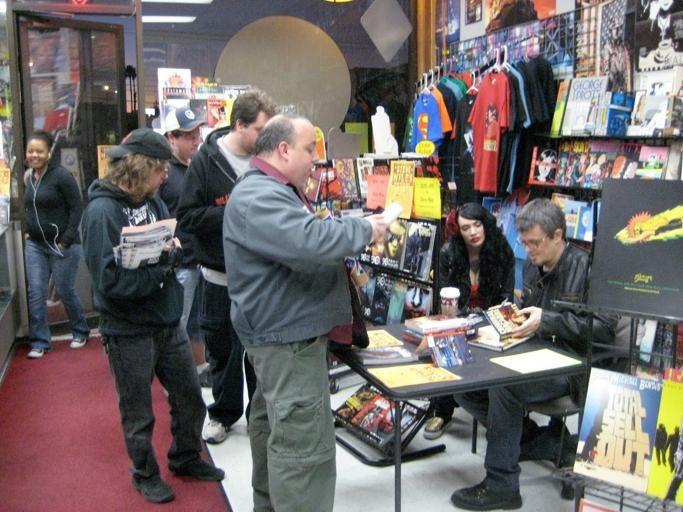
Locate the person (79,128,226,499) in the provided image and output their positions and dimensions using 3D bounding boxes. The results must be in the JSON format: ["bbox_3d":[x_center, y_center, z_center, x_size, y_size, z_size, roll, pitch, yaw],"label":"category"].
[{"bbox_3d":[-1.031,0.358,2.914,0.583,2.029,0.417,-7,14,-27],"label":"person"}]

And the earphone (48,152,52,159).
[{"bbox_3d":[-2.662,-0.913,4.902,0.017,0.060,0.087,-5,14,-16],"label":"earphone"}]

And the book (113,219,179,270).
[{"bbox_3d":[-0.961,-0.053,2.643,0.261,0.216,0.092,-9,36,-34],"label":"book"}]

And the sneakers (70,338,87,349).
[{"bbox_3d":[-2.571,0.852,5.245,0.061,0.079,0.190,1,-8,-2],"label":"sneakers"}]

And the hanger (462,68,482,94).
[{"bbox_3d":[1.310,-1.758,5.439,0.022,0.286,0.406,-7,21,-22],"label":"hanger"}]

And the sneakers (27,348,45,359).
[{"bbox_3d":[-2.843,0.901,4.991,0.130,0.075,0.114,-5,14,-17],"label":"sneakers"}]

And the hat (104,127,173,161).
[{"bbox_3d":[-1.001,-0.557,2.702,0.235,0.133,0.159,9,12,-18],"label":"hat"}]

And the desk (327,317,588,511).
[{"bbox_3d":[0.567,0.538,2.579,0.890,0.602,0.906,-2,3,-16],"label":"desk"}]

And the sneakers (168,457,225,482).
[{"bbox_3d":[-0.852,1.281,3.276,0.364,0.170,0.131,2,-3,0],"label":"sneakers"}]

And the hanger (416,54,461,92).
[{"bbox_3d":[1.090,-2.079,6.100,0.226,0.303,0.798,12,32,20],"label":"hanger"}]

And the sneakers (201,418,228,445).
[{"bbox_3d":[-0.849,1.173,3.580,0.181,0.197,0.444,8,-15,-12],"label":"sneakers"}]

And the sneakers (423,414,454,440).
[{"bbox_3d":[0.648,1.161,3.646,0.209,0.103,0.082,0,3,-45],"label":"sneakers"}]
